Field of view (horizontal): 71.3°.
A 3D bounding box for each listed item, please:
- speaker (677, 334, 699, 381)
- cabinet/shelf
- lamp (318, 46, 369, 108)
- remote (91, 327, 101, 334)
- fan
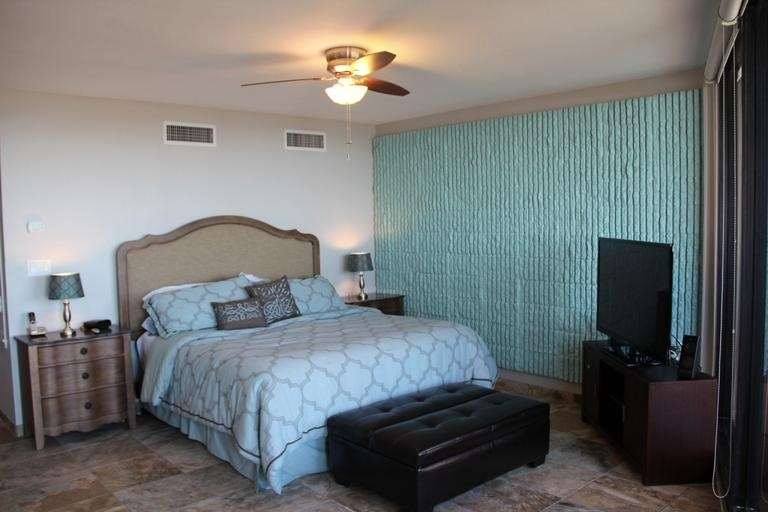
[{"bbox_3d":[2.324,0.755,4.087,0.114,0.330,0.194,5,13,29],"label":"speaker"},{"bbox_3d":[2.177,1.263,4.457,0.547,0.816,1.009,-3,11,-9],"label":"cabinet/shelf"},{"bbox_3d":[-0.338,-1.491,4.494,0.425,0.356,0.426,3,6,27],"label":"lamp"},{"bbox_3d":[-2.757,0.711,5.100,0.053,0.025,0.073,2,1,4],"label":"remote"},{"bbox_3d":[-0.255,-1.535,4.442,1.136,0.360,0.528,8,14,42],"label":"fan"}]
